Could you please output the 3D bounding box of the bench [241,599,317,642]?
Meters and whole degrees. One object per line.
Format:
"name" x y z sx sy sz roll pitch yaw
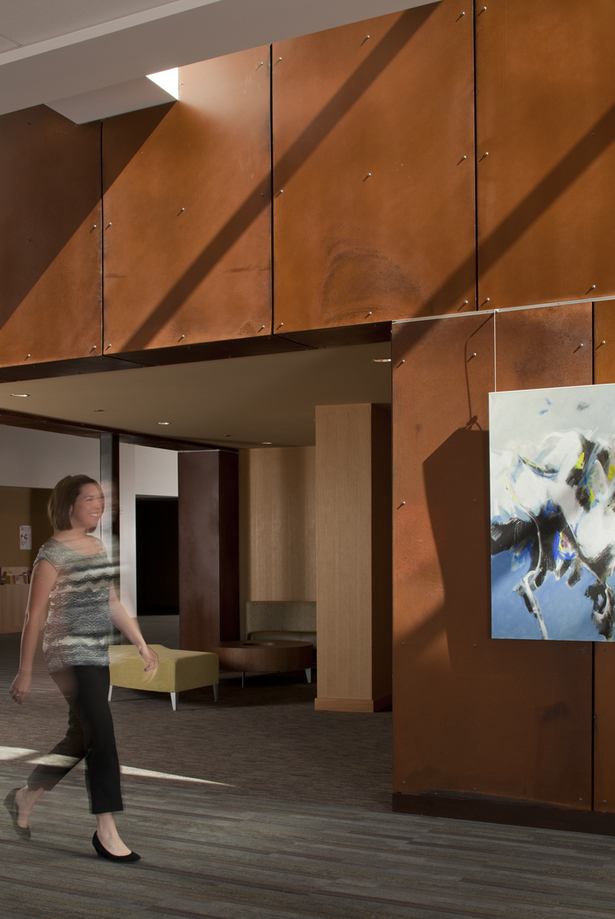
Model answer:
"bench" -0.390 2.041 11.463 1.087 0.467 0.742 -2 -6 14

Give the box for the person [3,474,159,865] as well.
"person" -0.978 0.861 3.799 0.641 1.592 0.638 0 -5 -10

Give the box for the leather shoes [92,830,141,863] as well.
"leather shoes" -0.777 1.586 3.651 0.228 0.119 0.083 4 -6 13

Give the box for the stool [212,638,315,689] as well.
"stool" -0.434 2.270 10.018 1.029 0.448 1.124 -1 -6 7
